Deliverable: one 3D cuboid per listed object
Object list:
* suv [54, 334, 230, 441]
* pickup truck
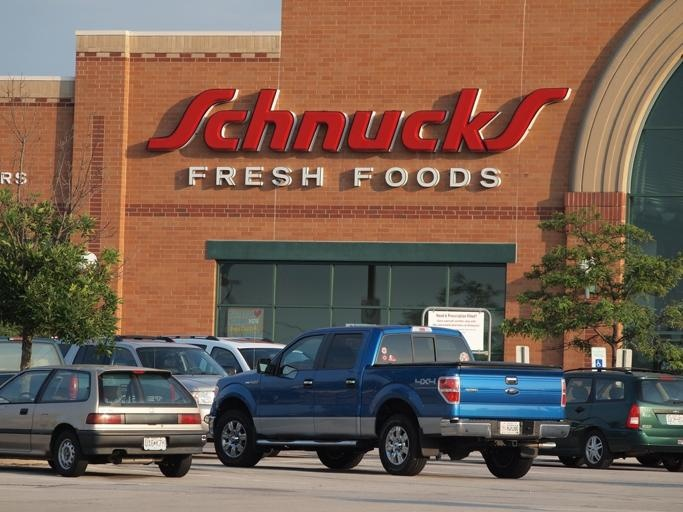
[{"bbox_3d":[-4.519,3.017,40.227,3.803,1.674,1.888,-3,-5,35],"label":"suv"},{"bbox_3d":[0.964,3.129,35.362,7.239,3.186,1.716,-3,-7,25],"label":"pickup truck"}]
